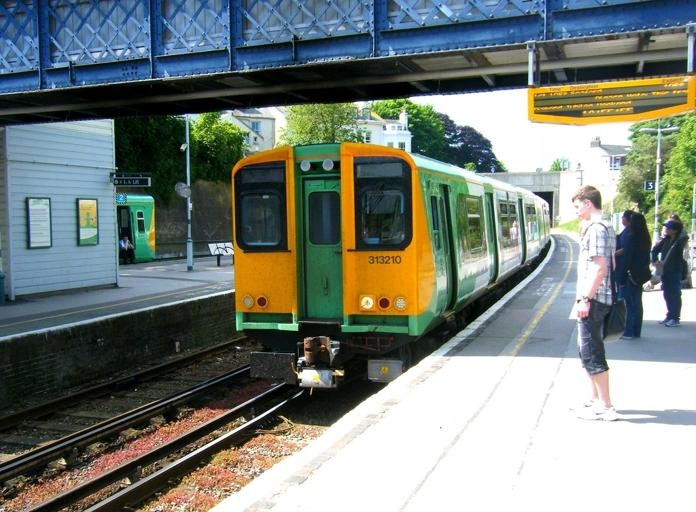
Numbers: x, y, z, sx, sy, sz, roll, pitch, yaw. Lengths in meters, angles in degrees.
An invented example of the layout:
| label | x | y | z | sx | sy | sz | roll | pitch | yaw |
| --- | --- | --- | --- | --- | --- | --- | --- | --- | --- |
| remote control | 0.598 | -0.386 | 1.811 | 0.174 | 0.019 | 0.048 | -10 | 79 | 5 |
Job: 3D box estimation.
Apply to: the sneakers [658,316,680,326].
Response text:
| label | x | y | z | sx | sy | sz | roll | pitch | yaw |
| --- | --- | --- | --- | --- | --- | --- | --- | --- | --- |
| sneakers | 6.131 | 1.235 | 12.322 | 0.382 | 0.172 | 0.144 | 5 | 0 | 12 |

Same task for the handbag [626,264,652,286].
| label | x | y | z | sx | sy | sz | roll | pitch | yaw |
| --- | --- | --- | --- | --- | --- | --- | --- | --- | --- |
| handbag | 4.973 | 0.324 | 10.978 | 0.453 | 0.368 | 0.148 | -6 | 8 | -15 |

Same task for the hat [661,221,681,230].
| label | x | y | z | sx | sy | sz | roll | pitch | yaw |
| --- | --- | --- | --- | --- | --- | --- | --- | --- | --- |
| hat | 6.011 | -0.566 | 11.949 | 0.252 | 0.096 | 0.191 | 7 | 7 | 26 |

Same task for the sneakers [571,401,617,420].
| label | x | y | z | sx | sy | sz | roll | pitch | yaw |
| --- | --- | --- | --- | --- | --- | --- | --- | --- | --- |
| sneakers | 3.016 | 1.869 | 7.921 | 0.556 | 0.261 | 0.205 | 6 | -7 | 15 |

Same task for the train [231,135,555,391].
| label | x | y | z | sx | sy | sz | roll | pitch | yaw |
| --- | --- | --- | --- | --- | --- | --- | --- | --- | --- |
| train | 1.186 | 0.079 | 12.396 | 2.634 | 4.556 | 6.661 | 2 | 10 | 37 |

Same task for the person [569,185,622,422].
| label | x | y | z | sx | sy | sz | roll | pitch | yaw |
| --- | --- | --- | --- | --- | --- | --- | --- | --- | --- |
| person | 2.972 | 0.566 | 7.764 | 0.453 | 2.791 | 0.582 | -1 | 8 | 21 |
